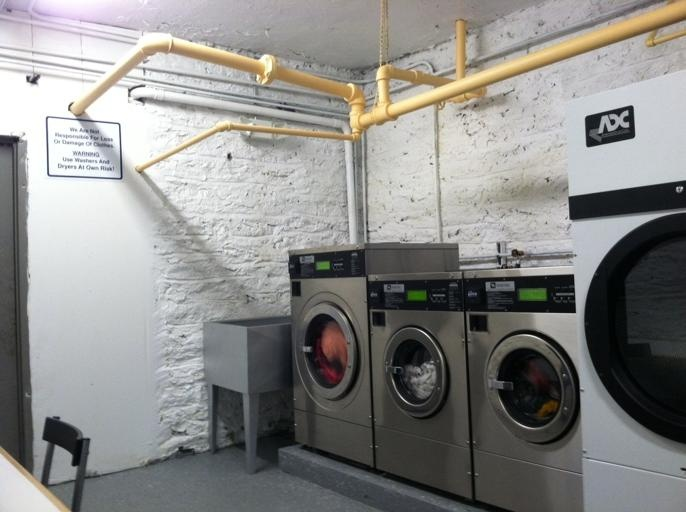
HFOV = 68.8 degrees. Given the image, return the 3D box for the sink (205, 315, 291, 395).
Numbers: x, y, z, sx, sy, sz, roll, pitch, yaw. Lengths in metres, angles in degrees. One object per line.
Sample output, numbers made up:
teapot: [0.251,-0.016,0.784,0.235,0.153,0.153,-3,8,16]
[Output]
sink: [-0.737,0.726,3.776,0.534,0.465,0.806,-2,-3,44]
